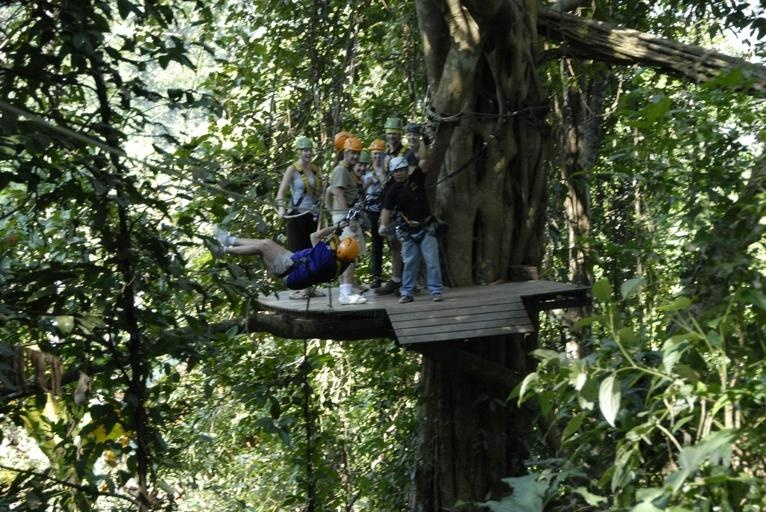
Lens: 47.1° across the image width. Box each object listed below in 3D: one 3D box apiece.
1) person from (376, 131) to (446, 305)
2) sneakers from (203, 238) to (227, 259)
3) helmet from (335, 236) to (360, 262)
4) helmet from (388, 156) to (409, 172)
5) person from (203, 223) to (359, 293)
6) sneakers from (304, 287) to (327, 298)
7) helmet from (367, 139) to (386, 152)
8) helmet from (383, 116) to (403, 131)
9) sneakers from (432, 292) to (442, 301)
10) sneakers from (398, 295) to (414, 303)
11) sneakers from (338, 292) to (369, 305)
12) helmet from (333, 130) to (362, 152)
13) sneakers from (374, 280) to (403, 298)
[{"bbox_3d":[0.275,-0.371,8.557,0.630,1.613,0.501,2,-16,2],"label":"person"},{"bbox_3d":[-1.591,-0.082,8.330,0.153,0.066,0.209,16,-12,29],"label":"sneakers"},{"bbox_3d":[-0.329,-0.073,8.082,0.182,0.258,0.207,0,-16,7],"label":"helmet"},{"bbox_3d":[0.141,-0.910,8.658,0.164,0.104,0.214,-19,5,8],"label":"helmet"},{"bbox_3d":[-0.917,-0.098,8.300,1.354,0.662,0.456,18,12,10],"label":"person"},{"bbox_3d":[-0.709,0.374,9.048,0.222,0.116,0.068,-11,29,-18],"label":"sneakers"},{"bbox_3d":[-0.061,-1.146,9.114,0.164,0.096,0.199,1,22,2],"label":"helmet"},{"bbox_3d":[0.093,-1.334,8.824,0.157,0.099,0.194,4,35,7],"label":"helmet"},{"bbox_3d":[0.513,0.392,8.499,0.079,0.070,0.194,0,-6,-3],"label":"sneakers"},{"bbox_3d":[0.205,0.419,8.519,0.165,0.060,0.056,12,-6,-38],"label":"sneakers"},{"bbox_3d":[-0.300,0.414,8.605,0.314,0.111,0.103,0,3,1],"label":"sneakers"},{"bbox_3d":[-0.401,-1.173,9.012,0.388,0.177,0.259,8,21,35],"label":"helmet"},{"bbox_3d":[0.039,0.320,9.044,0.351,0.124,0.108,0,8,5],"label":"sneakers"}]
